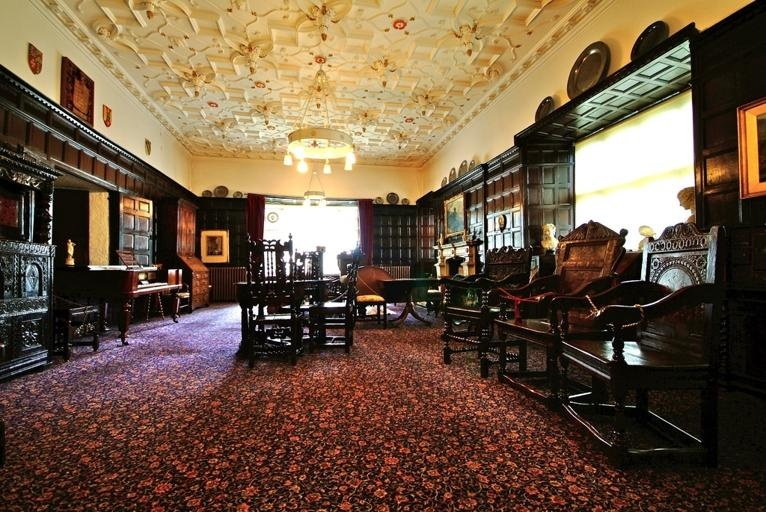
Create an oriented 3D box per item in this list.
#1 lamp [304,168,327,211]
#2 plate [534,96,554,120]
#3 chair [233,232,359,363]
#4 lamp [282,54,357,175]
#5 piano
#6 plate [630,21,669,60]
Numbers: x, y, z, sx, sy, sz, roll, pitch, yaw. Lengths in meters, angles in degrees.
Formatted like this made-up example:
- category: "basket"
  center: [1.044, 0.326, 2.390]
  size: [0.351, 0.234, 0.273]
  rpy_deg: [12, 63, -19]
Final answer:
- category: "lamp"
  center: [-1.798, -1.777, 12.557]
  size: [0.782, 0.951, 0.769]
  rpy_deg: [2, 4, 20]
- category: "plate"
  center: [2.683, -2.489, 8.054]
  size: [0.142, 0.338, 0.572]
  rpy_deg: [-2, -3, -9]
- category: "chair"
  center: [-1.188, 0.548, 6.653]
  size: [1.433, 1.215, 1.772]
  rpy_deg: [1, 6, -3]
- category: "lamp"
  center: [-1.074, -2.436, 7.884]
  size: [0.898, 1.514, 0.861]
  rpy_deg: [5, 10, 4]
- category: "piano"
  center: [-4.088, 0.886, 7.411]
  size: [1.156, 1.035, 1.509]
  rpy_deg: [0, -3, -1]
- category: "plate"
  center: [3.442, -2.768, 6.187]
  size: [0.080, 0.556, 0.576]
  rpy_deg: [20, -28, -6]
